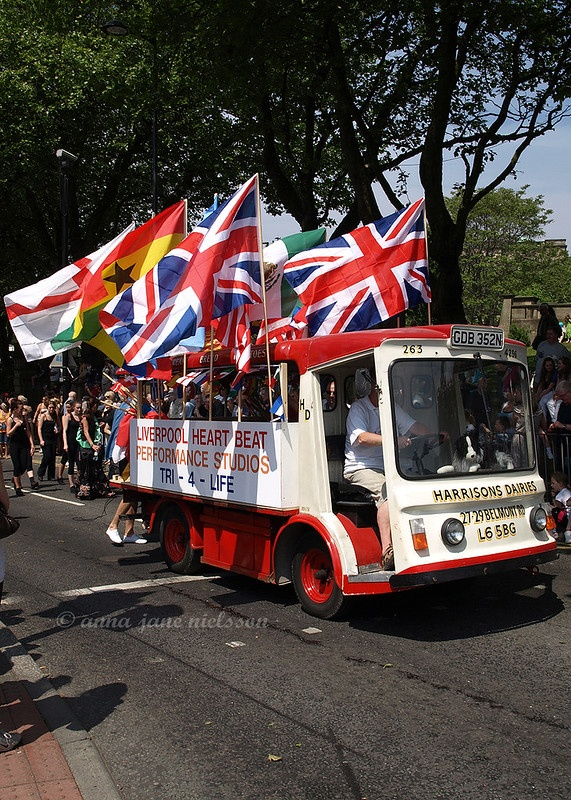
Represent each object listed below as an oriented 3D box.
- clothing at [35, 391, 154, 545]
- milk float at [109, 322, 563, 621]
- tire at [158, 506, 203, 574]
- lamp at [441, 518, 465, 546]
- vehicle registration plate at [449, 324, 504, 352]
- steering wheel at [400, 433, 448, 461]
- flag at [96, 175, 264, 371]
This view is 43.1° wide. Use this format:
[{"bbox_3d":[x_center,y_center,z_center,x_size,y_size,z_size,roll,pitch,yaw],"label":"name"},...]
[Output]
[{"bbox_3d":[-3.267,1.163,12.245,1.290,3.845,1.060,-10,19,-7],"label":"clothing"},{"bbox_3d":[0.490,0.702,7.238,2.253,2.086,4.029,2,-6,-36],"label":"milk float"},{"bbox_3d":[-1.147,1.566,8.158,0.247,0.769,0.772,1,18,-36],"label":"tire"},{"bbox_3d":[1.222,0.970,5.288,0.160,0.159,0.047,-32,11,-35],"label":"lamp"},{"bbox_3d":[1.580,-0.505,5.881,0.641,0.153,0.139,0,-2,-37],"label":"vehicle registration plate"},{"bbox_3d":[1.063,0.360,5.536,0.468,0.147,0.052,-1,-1,-34],"label":"steering wheel"},{"bbox_3d":[-1.012,-1.180,7.139,1.754,1.906,0.190,-15,41,-27],"label":"flag"}]
